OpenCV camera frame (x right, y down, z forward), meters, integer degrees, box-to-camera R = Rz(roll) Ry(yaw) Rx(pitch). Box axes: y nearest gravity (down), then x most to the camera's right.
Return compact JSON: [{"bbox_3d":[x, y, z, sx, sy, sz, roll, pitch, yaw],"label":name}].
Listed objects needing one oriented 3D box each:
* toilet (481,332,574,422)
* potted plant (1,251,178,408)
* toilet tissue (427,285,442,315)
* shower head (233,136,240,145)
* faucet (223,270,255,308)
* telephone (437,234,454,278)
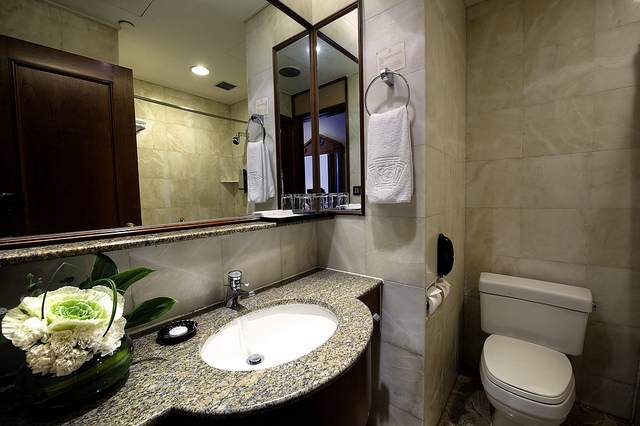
[{"bbox_3d":[1.306,0.969,2.578,0.398,0.396,0.534,-1,25,42],"label":"toilet"},{"bbox_3d":[-1.044,0.465,2.012,0.574,0.633,0.632,7,-2,12],"label":"potted plant"},{"bbox_3d":[0.700,0.522,2.517,0.052,0.152,0.168,0,6,34],"label":"toilet tissue"},{"bbox_3d":[-0.483,-0.418,2.400,0.024,0.046,0.076,-4,46,1],"label":"shower head"},{"bbox_3d":[-0.416,0.414,2.294,0.101,0.200,0.279,-4,9,-33],"label":"faucet"},{"bbox_3d":[0.789,0.271,2.614,0.110,0.272,0.050,-5,5,-27],"label":"telephone"}]
